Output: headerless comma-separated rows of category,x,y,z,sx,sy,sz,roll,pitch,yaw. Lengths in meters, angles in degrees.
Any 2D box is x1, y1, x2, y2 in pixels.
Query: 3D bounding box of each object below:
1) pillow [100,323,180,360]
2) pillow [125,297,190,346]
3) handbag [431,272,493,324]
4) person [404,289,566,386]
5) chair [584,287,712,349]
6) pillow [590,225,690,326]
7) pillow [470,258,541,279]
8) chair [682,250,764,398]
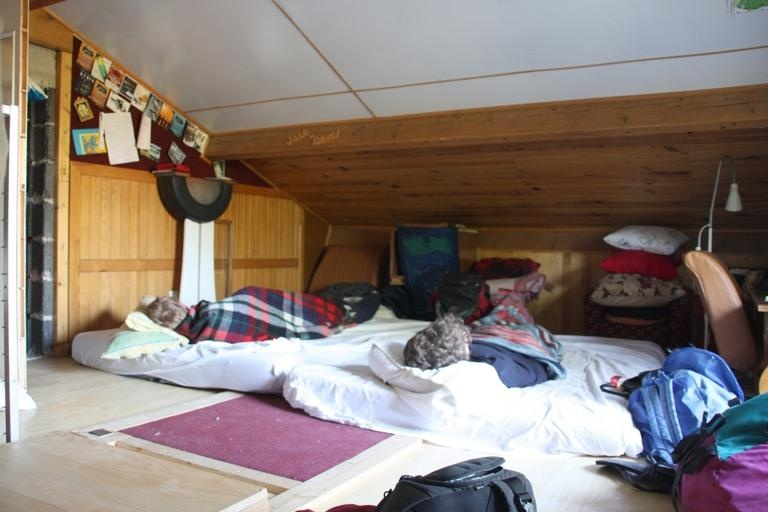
pillow,-1.704,0.609,3.596,0.329,0.083,0.308,-3,6,-20
pillow,-1.646,0.479,3.775,0.439,0.357,0.126,12,-42,-2
handbag,0.635,0.347,4.235,0.429,0.404,0.158,9,-44,28
person,0.621,0.569,3.256,0.797,0.320,1.058,5,6,39
chair,2.225,0.557,4.319,0.604,0.450,0.585,-4,-17,25
pillow,2.241,0.093,4.467,0.749,0.923,0.274,4,-43,30
pillow,1.092,0.103,4.809,0.475,0.111,0.298,-8,1,39
chair,2.169,0.477,3.486,0.578,0.962,0.239,-11,-8,-17
